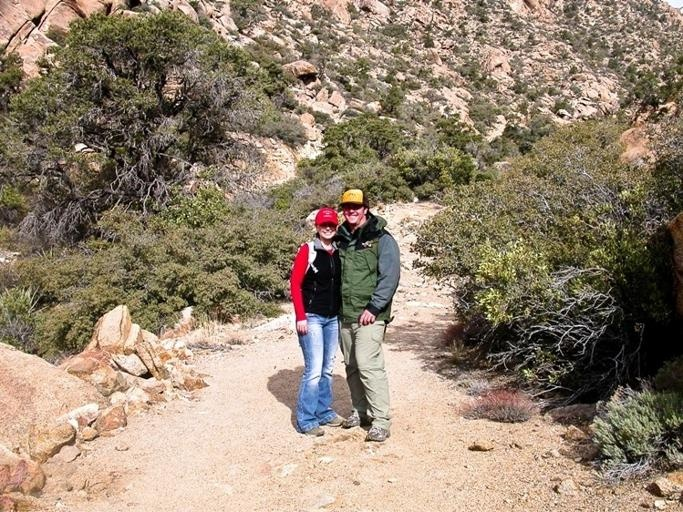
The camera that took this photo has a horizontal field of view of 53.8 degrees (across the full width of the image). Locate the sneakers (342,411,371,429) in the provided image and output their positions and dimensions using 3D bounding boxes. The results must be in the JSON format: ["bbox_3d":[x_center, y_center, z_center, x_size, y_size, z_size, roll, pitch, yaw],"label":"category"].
[{"bbox_3d":[0.215,2.512,10.295,0.452,0.246,0.205,7,-13,-7],"label":"sneakers"}]

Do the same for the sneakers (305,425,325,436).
[{"bbox_3d":[-0.404,2.629,10.167,0.257,0.127,0.125,-12,-13,36],"label":"sneakers"}]

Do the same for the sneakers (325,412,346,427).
[{"bbox_3d":[-0.100,2.533,10.396,0.271,0.129,0.160,-7,-9,19],"label":"sneakers"}]

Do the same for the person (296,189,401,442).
[{"bbox_3d":[0.357,0.849,10.053,0.923,3.629,0.888,5,13,35],"label":"person"}]

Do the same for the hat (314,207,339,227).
[{"bbox_3d":[-0.213,-0.599,10.139,0.314,0.272,0.552,3,-5,-4],"label":"hat"}]
